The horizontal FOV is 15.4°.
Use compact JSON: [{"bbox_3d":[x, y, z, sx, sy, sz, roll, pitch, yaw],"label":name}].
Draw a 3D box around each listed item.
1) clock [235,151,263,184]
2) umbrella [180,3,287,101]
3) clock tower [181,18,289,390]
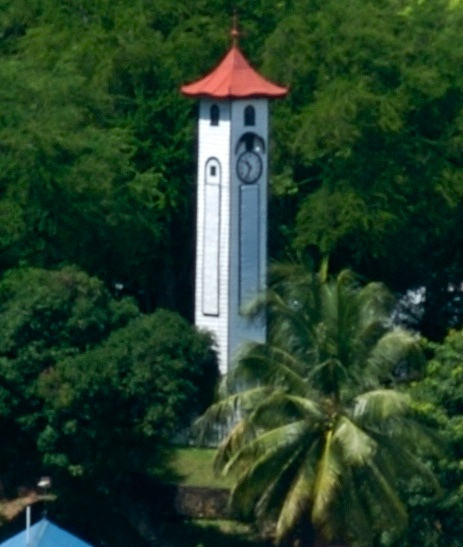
[{"bbox_3d":[0.485,-3.867,57.931,0.748,1.299,0.109,0,4,-20],"label":"clock"},{"bbox_3d":[0.022,-6.981,58.574,2.510,3.519,3.044,5,16,18],"label":"umbrella"},{"bbox_3d":[-0.109,-2.124,58.029,2.656,10.123,3.067,-3,9,-13],"label":"clock tower"}]
